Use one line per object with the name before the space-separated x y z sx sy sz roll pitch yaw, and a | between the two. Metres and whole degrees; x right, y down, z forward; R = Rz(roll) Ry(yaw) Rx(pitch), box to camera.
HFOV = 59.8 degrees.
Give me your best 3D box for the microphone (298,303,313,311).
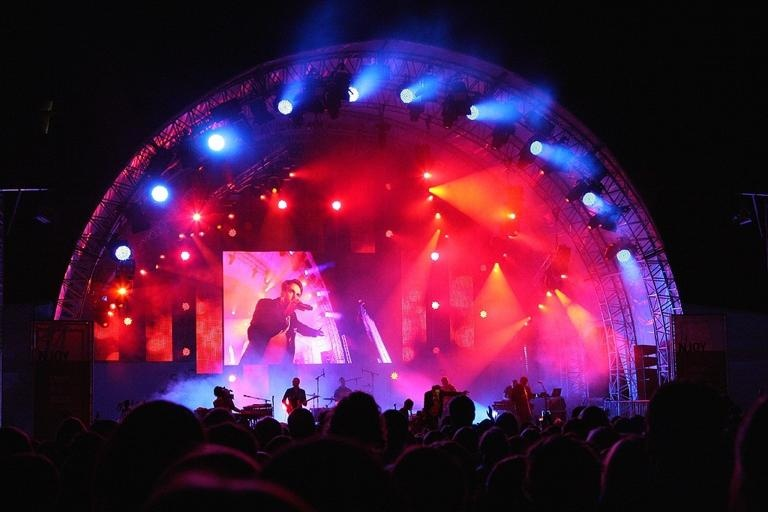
microphone | -2.575 1.671 21.834 0.649 0.222 0.169 13 -5 -40
